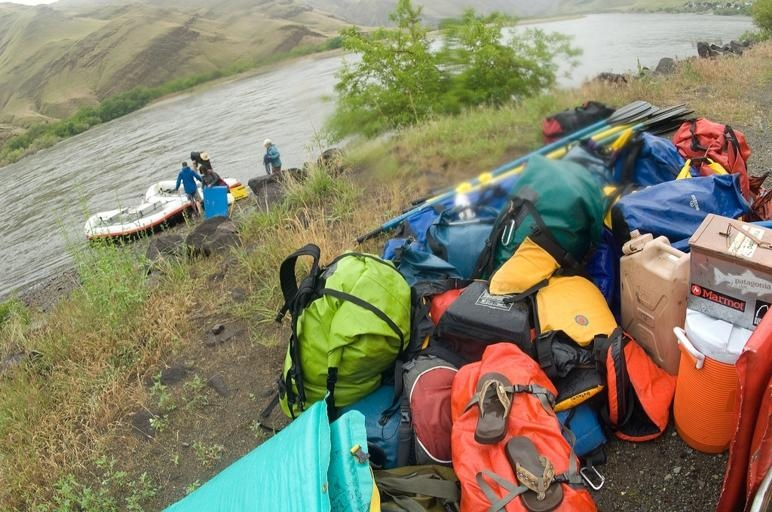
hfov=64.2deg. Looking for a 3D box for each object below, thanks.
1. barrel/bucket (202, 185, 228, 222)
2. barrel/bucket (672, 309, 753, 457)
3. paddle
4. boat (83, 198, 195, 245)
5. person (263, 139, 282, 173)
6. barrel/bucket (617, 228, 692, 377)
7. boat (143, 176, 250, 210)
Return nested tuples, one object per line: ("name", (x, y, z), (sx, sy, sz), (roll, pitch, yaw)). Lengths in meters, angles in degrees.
("barrel/bucket", (-3.883, -1.300, 14.090), (0.527, 0.735, 0.419), (0, 28, -12))
("barrel/bucket", (3.428, 1.374, 6.597), (0.649, 1.444, 0.668), (-10, 33, 7))
("paddle", (2.158, -1.285, 9.382), (5.080, 0.375, 0.725), (-33, 32, -10))
("boat", (-6.722, -0.967, 17.032), (2.619, 0.822, 1.633), (-20, 34, -18))
("person", (-3.281, -2.832, 17.986), (0.468, 1.222, 0.503), (-15, 32, -27))
("barrel/bucket", (3.064, 0.541, 7.042), (0.702, 1.317, 0.904), (1, 36, 22))
("boat", (-5.983, -1.741, 20.068), (2.390, 1.018, 1.510), (-3, 28, 7))
